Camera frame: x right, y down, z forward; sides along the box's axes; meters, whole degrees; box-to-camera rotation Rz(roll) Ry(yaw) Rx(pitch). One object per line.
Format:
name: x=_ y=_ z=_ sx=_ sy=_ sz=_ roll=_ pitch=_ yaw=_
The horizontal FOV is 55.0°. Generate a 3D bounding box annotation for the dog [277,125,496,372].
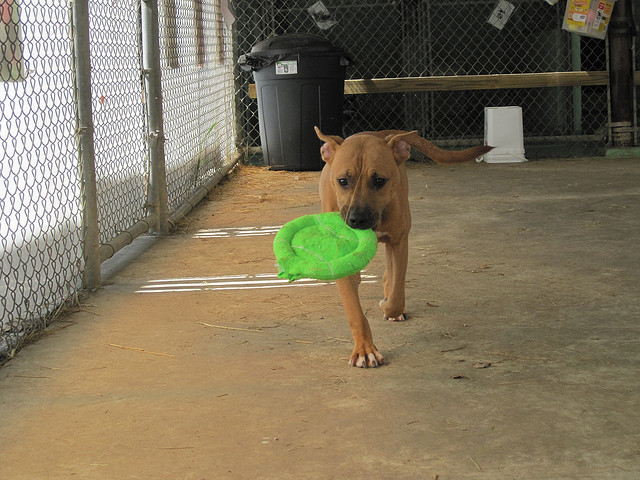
dog: x=0.223 y=-0.018 z=2.775 sx=0.527 sy=0.959 sz=0.894 roll=5 pitch=16 yaw=28

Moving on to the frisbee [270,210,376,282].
frisbee: x=0.013 y=0.029 z=2.548 sx=0.431 sy=0.247 sz=0.298 roll=1 pitch=14 yaw=14
